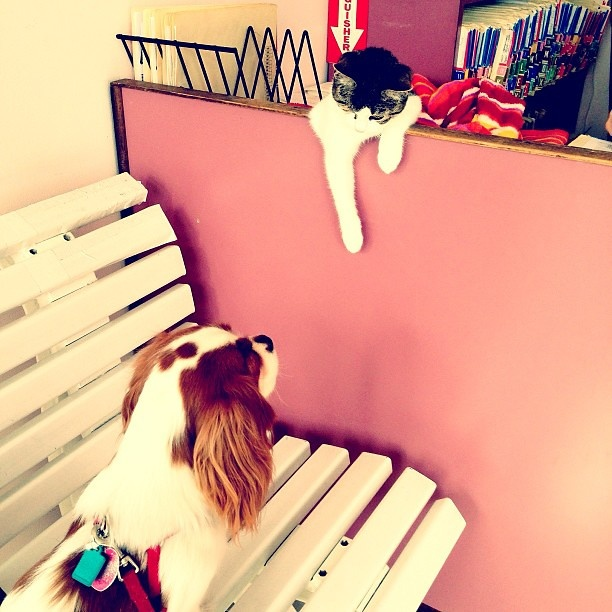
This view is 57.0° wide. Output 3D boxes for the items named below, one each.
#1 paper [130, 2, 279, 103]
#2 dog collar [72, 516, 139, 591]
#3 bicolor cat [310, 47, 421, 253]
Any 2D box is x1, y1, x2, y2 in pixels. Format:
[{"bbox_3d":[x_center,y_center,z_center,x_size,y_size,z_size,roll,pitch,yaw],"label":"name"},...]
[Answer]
[{"bbox_3d":[-0.309,-0.786,1.773,0.321,0.448,0.138,4,50,15],"label":"paper"},{"bbox_3d":[-0.408,0.503,1.109,0.106,0.105,0.102,14,36,33],"label":"dog collar"},{"bbox_3d":[0.129,-0.345,1.346,0.269,0.499,0.120,13,35,33],"label":"bicolor cat"}]
